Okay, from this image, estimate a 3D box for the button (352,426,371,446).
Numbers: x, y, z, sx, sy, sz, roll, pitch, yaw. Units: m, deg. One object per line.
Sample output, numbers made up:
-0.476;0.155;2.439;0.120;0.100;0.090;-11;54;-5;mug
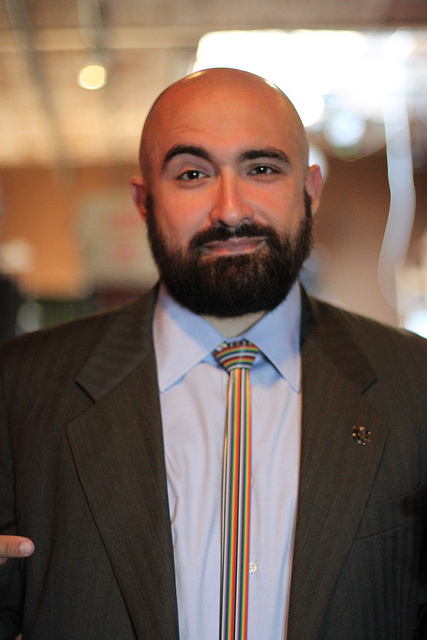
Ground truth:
0.355;0.280;1.454;0.042;0.036;0.029;-1;16;12;button
